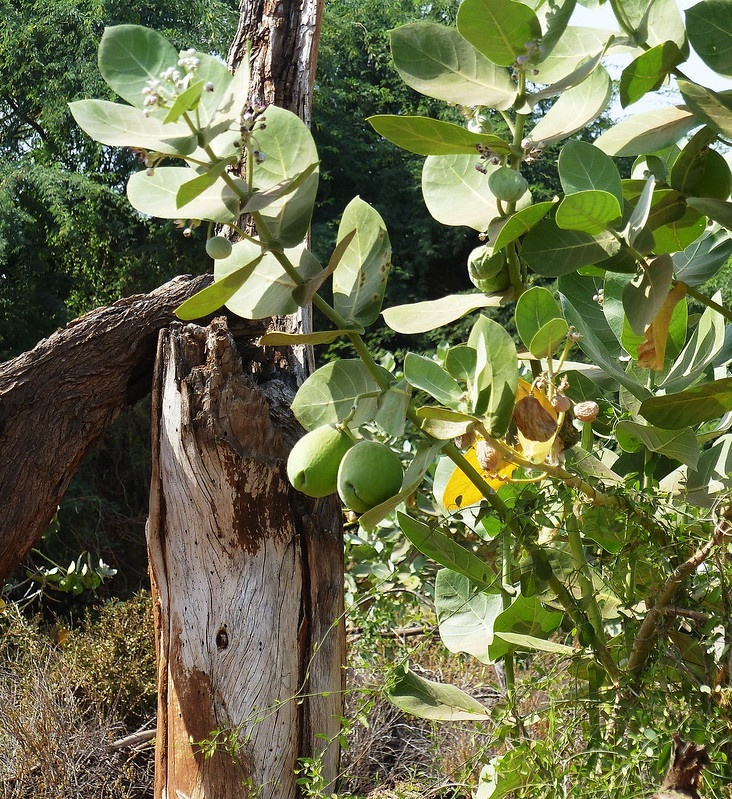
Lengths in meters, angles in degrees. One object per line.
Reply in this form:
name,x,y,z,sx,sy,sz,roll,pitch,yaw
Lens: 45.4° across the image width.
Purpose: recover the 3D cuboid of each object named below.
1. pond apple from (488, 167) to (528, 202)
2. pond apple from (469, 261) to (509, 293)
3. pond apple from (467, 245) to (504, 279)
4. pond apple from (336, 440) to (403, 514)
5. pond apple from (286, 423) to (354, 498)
pond apple,0.117,-0.179,0.729,0.028,0.026,0.033,3,-4,6
pond apple,0.119,-0.116,0.833,0.028,0.019,0.030,3,27,38
pond apple,0.108,-0.123,0.788,0.032,0.027,0.037,-2,3,-1
pond apple,0.001,0.065,0.786,0.047,0.042,0.058,-15,22,32
pond apple,-0.027,0.060,0.839,0.071,0.050,0.055,-41,19,-28
